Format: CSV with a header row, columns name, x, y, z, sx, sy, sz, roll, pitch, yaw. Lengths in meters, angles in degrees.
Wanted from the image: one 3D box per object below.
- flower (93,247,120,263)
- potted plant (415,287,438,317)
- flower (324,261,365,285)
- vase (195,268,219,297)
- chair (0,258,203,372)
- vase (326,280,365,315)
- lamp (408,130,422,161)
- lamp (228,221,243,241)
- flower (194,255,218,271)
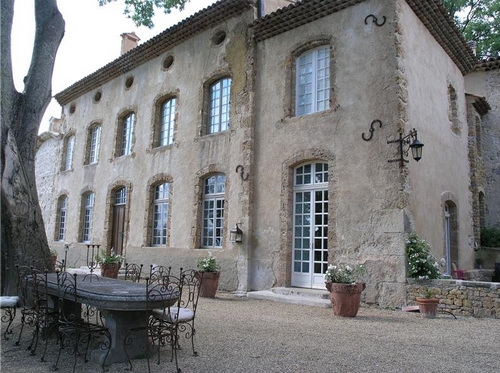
name,x,y,z,sx,sy,sz,roll,pitch,yaw
flower,-4.347,2.204,13.383,0.733,0.445,0.759,-1,-9,26
potted plant,3.659,2.408,8.980,0.403,0.532,0.407,1,-4,12
flower,1.943,1.832,9.106,0.530,0.382,0.653,-2,2,35
vase,-1.068,2.449,11.150,0.587,0.661,0.598,4,-1,-36
chair,-2.210,1.978,6.463,2.700,1.423,1.438,-7,-15,25
vase,1.956,2.307,8.831,0.854,0.649,0.605,-1,-17,5
lamp,3.843,-1.003,10.054,0.279,0.846,0.871,-5,-15,21
lamp,-0.398,1.239,11.722,0.341,0.551,0.379,2,-14,-5
flower,-1.174,1.998,11.204,0.419,0.346,0.488,-1,-6,8
